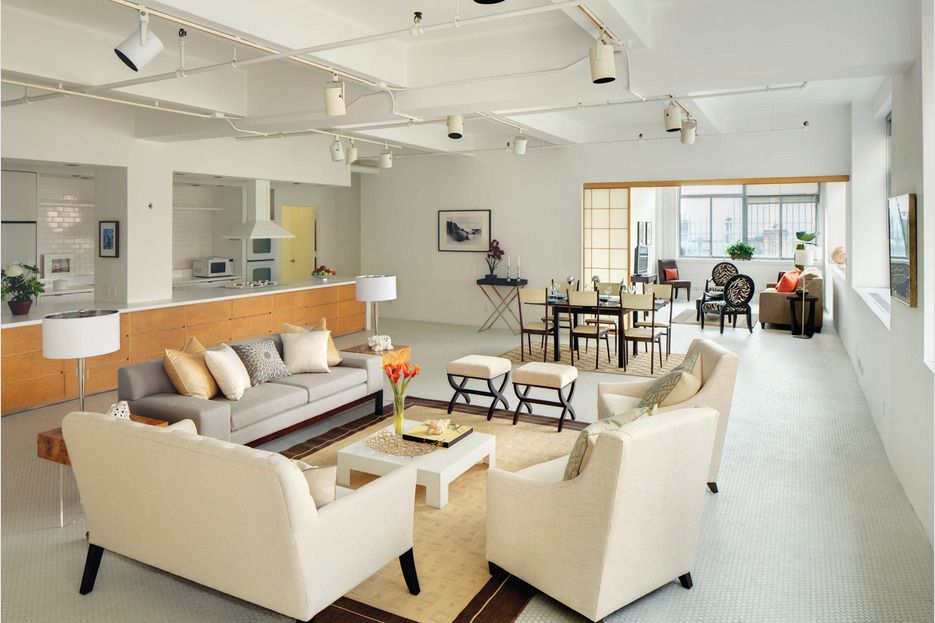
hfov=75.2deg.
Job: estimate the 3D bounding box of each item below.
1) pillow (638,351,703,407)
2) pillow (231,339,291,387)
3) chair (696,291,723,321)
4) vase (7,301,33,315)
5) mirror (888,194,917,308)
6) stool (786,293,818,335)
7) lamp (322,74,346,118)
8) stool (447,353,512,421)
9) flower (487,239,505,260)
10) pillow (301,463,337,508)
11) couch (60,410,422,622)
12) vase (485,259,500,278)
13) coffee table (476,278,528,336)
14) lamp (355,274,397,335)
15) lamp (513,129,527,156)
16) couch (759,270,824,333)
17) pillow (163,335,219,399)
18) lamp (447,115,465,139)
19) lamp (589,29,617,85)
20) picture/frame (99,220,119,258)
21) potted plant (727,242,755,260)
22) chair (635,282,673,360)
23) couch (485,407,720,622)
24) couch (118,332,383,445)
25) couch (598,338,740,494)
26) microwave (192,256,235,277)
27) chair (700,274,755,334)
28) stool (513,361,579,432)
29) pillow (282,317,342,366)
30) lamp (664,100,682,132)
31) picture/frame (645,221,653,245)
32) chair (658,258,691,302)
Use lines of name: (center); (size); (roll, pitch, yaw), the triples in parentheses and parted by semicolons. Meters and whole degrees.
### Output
pillow: (1.752, 0.590, 5.204); (0.466, 0.423, 0.497); (1, 7, 18)
pillow: (-2.163, 0.517, 6.453); (0.150, 0.478, 0.511); (-31, -7, 29)
chair: (4.865, -0.122, 12.296); (0.644, 0.764, 0.538); (0, -1, -42)
vase: (-5.497, -0.062, 7.478); (0.234, 0.200, 0.217); (-4, 7, -25)
mirror: (3.723, -0.526, 5.181); (0.067, 0.968, 0.991); (-1, 4, 22)
stool: (6.170, 0.008, 11.148); (0.674, 0.808, 0.708); (2, 10, 34)
lamp: (-1.346, -2.232, 6.194); (0.197, 0.441, 0.378); (-3, 7, -13)
stool: (0.139, 0.871, 7.142); (0.642, 0.642, 0.637); (4, 7, 22)
flower: (0.571, -1.234, 11.792); (0.332, 0.216, 0.341); (8, 11, 28)
pillow: (-0.911, 1.084, 3.742); (0.282, 0.281, 0.112); (3, 9, 27)
couch: (-1.525, 1.269, 3.931); (2.086, 1.211, 0.647); (0, 7, 13)
vase: (0.521, -0.863, 11.906); (0.334, 0.482, 0.300); (3, 6, 24)
coffee table: (0.715, -0.107, 11.625); (0.972, 1.173, 0.481); (3, 9, 30)
lamp: (-1.162, -0.063, 7.814); (0.543, 0.914, 0.559); (-7, -12, 18)
lamp: (0.862, -2.779, 9.889); (0.298, 0.376, 0.506); (0, 10, 3)
couch: (6.129, -0.105, 11.540); (0.936, 0.945, 1.788); (2, 5, 29)
pillow: (-2.649, 0.560, 5.878); (0.482, 0.564, 0.382); (4, 9, 38)
lamp: (-0.141, -2.354, 7.517); (0.268, 0.317, 0.274); (-1, -14, 1)
lamp: (1.200, -2.271, 5.396); (0.211, 0.374, 0.224); (3, 22, 26)
picture/frame: (-5.011, -1.047, 8.544); (0.508, 0.600, 0.059); (2, 4, 37)
potted plant: (6.715, -1.489, 14.917); (0.480, 0.387, 0.537); (1, 4, 12)
chair: (3.110, 0.152, 10.612); (0.808, 1.378, 0.906); (3, -22, 12)
couch: (0.900, 1.199, 4.459); (1.261, 1.487, 1.421); (-3, 5, -36)
couch: (-1.882, 0.848, 6.466); (1.981, 0.847, 0.806); (-17, 17, -39)
couch: (1.757, 0.756, 5.506); (1.290, 1.417, 1.295); (0, 3, 4)
microwave: (-4.733, -0.826, 11.322); (0.406, 0.339, 0.553); (1, 2, 23)
chair: (5.028, -0.242, 11.701); (0.673, 1.117, 0.795); (-3, 13, -4)
stool: (0.855, 0.907, 6.917); (0.748, 0.801, 0.708); (0, 3, 25)
pillow: (-1.727, 0.402, 7.267); (0.708, 0.728, 0.217); (-14, 0, -12)
lamp: (2.380, -2.284, 7.021); (0.157, 0.324, 0.297); (2, 7, 24)
picture/frame: (4.673, -2.058, 15.621); (0.071, 0.764, 0.615); (-1, -3, 23)
chair: (5.237, -0.868, 15.436); (0.663, 0.965, 0.729); (-5, 5, -31)
